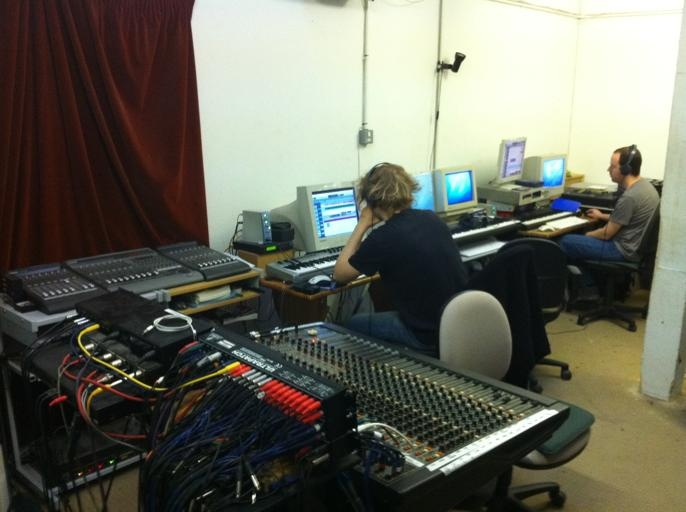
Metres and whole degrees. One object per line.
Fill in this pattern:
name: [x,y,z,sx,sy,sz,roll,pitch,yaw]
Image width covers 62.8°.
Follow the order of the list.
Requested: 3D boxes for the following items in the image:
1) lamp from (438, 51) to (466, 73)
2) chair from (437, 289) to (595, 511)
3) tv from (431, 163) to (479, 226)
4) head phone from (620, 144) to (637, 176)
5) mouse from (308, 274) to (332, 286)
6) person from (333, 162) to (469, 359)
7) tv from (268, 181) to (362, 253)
lamp: [1.026,-1.819,5.269,0.277,0.199,0.161,10,31,14]
chair: [0.882,0.761,2.681,0.708,1.228,0.522,-12,15,-35]
tv: [0.972,-0.516,4.873,0.306,0.553,0.585,0,14,38]
head phone: [2.553,-0.847,5.018,0.127,0.316,0.341,6,5,18]
mouse: [-0.151,0.150,3.553,0.075,0.039,0.101,-8,7,-41]
person: [0.376,0.011,3.198,0.656,1.047,0.416,1,13,14]
tv: [-0.206,-0.351,4.179,0.495,0.446,0.560,-16,22,-42]
